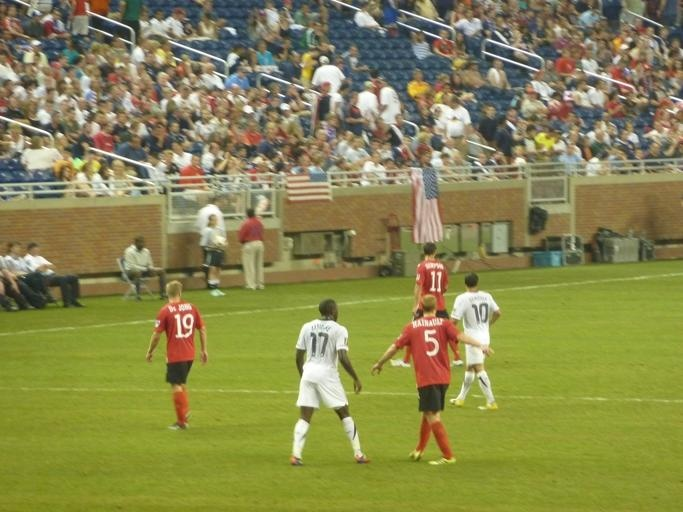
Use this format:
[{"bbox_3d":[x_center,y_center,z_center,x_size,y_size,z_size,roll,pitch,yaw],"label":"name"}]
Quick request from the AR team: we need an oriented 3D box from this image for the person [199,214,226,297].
[{"bbox_3d":[-3.609,-0.036,41.173,0.657,2.303,0.738,-2,2,-9],"label":"person"}]

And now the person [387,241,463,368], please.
[{"bbox_3d":[1.871,1.060,32.527,1.604,2.716,1.149,-2,4,-10],"label":"person"}]

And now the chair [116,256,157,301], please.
[{"bbox_3d":[-5.738,0.699,40.531,1.018,1.236,0.882,-5,13,-44],"label":"chair"}]

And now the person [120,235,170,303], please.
[{"bbox_3d":[-5.546,0.259,40.500,1.257,1.882,1.078,-3,14,-38],"label":"person"}]

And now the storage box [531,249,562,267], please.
[{"bbox_3d":[6.761,0.078,47.544,1.025,0.532,0.549,-1,2,6],"label":"storage box"}]

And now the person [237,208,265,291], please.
[{"bbox_3d":[-2.605,-0.186,42.062,0.683,2.344,1.122,-2,2,-4],"label":"person"}]

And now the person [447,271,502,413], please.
[{"bbox_3d":[2.725,1.773,29.668,1.266,2.569,1.133,3,10,-2],"label":"person"}]
